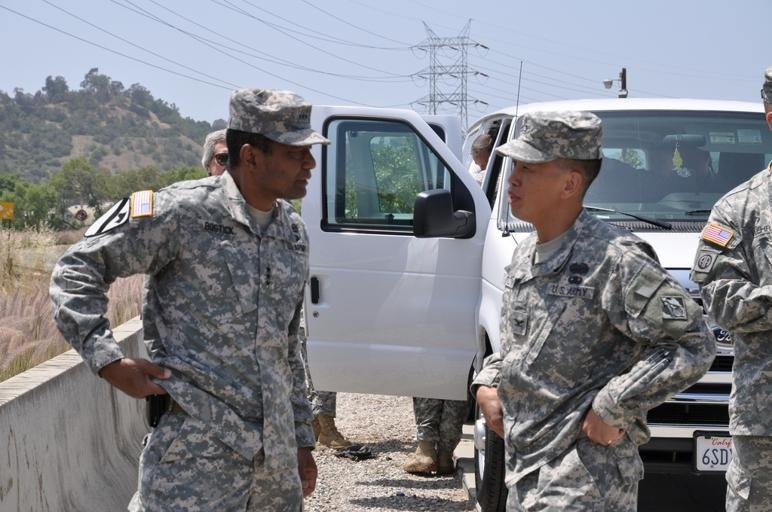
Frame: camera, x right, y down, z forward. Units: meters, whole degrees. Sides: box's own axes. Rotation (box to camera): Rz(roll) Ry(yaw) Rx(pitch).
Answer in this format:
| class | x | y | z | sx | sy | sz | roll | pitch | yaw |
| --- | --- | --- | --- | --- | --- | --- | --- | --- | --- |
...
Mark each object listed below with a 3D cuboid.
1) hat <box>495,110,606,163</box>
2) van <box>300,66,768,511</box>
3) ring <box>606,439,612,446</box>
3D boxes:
| class | x | y | z | sx | sy | sz | roll | pitch | yaw |
| --- | --- | --- | --- | --- | --- | --- | --- | --- | --- |
| hat | 0.750 | -0.526 | 4.040 | 0.368 | 0.128 | 0.269 | 0 | 1 | -9 |
| van | 0.750 | -0.100 | 6.017 | 3.148 | 1.473 | 2.667 | 0 | 1 | -5 |
| ring | 0.966 | 0.820 | 3.863 | 0.028 | 0.028 | 0.032 | 4 | 9 | 23 |
